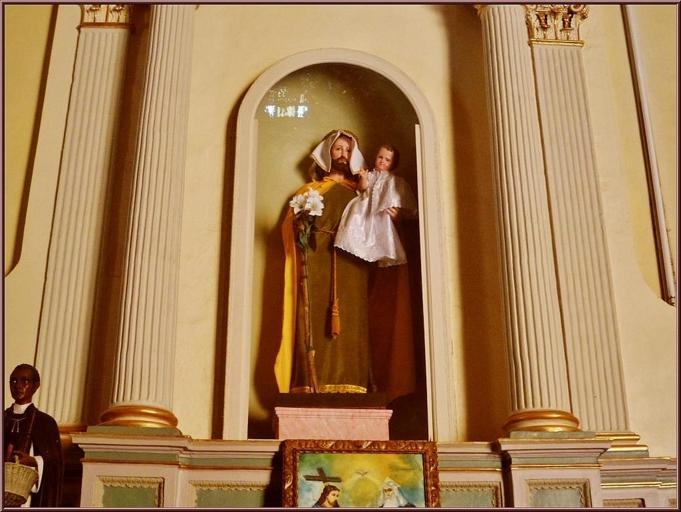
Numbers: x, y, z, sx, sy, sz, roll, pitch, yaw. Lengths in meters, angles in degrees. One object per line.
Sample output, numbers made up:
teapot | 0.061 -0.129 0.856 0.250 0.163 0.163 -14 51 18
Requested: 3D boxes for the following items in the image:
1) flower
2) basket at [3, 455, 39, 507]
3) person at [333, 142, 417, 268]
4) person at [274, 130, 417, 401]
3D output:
flower | -0.230 0.075 4.696 0.202 1.005 0.232 2 -19 -2
basket | -1.561 1.113 3.636 0.172 0.154 0.194 -10 -34 21
person | 0.245 -0.366 4.985 0.477 0.888 0.237 4 -26 11
person | 0.062 -0.003 4.871 0.912 1.857 0.480 3 -19 -6
